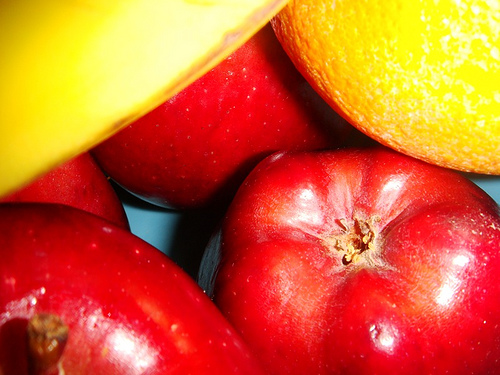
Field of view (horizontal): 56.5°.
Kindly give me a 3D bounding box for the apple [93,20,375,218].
[{"bbox_3d":[-0.021,-0.036,0.547,0.224,0.247,0.247,-27,55,16],"label":"apple"}]
